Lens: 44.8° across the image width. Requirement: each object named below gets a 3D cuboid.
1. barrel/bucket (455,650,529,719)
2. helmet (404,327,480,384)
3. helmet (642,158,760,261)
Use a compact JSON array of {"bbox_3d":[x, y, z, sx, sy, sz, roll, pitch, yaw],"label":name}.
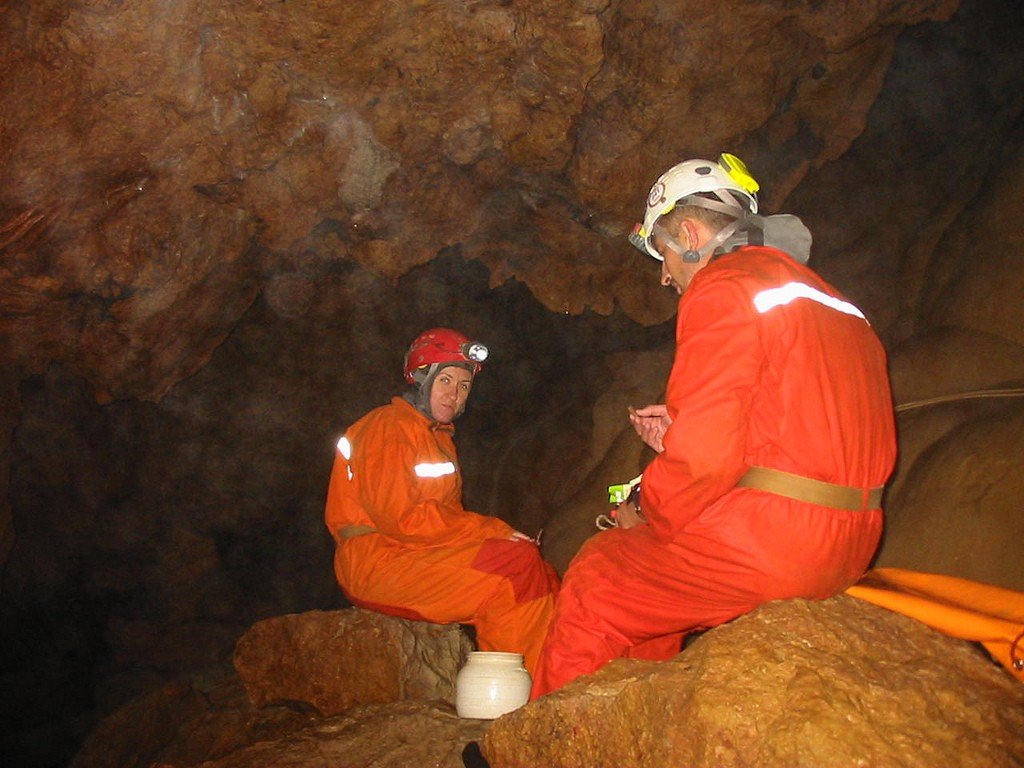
[{"bbox_3d":[-0.122,1.797,7.453,0.387,0.313,0.397,0,-5,0],"label":"barrel/bucket"},{"bbox_3d":[-0.525,-0.195,8.714,0.448,0.385,0.351,15,-8,28],"label":"helmet"},{"bbox_3d":[1.108,-1.056,7.189,0.459,0.559,0.617,28,-2,-27],"label":"helmet"}]
